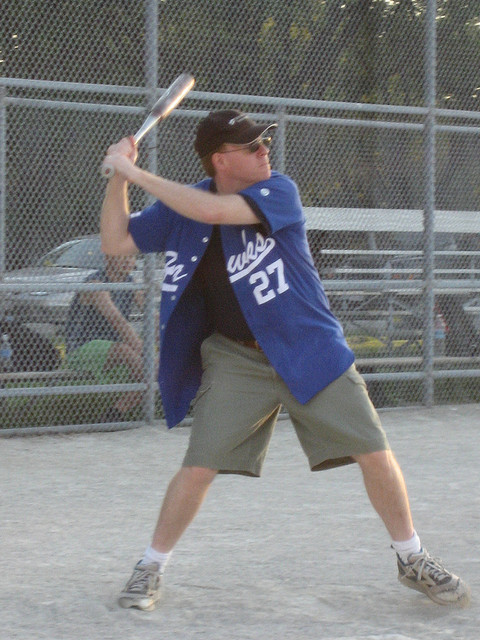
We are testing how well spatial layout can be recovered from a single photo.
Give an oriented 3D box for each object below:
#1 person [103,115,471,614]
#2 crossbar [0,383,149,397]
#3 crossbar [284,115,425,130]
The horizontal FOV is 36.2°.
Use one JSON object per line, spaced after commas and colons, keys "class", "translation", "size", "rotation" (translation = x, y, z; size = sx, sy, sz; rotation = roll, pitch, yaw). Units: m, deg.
{"class": "person", "translation": [0.078, 0.113, 2.200], "size": [0.968, 1.418, 0.510], "rotation": [0, 6, -9]}
{"class": "crossbar", "translation": [-1.134, 0.477, 5.009], "size": [0.998, 0.084, 0.096], "rotation": [-2, 6, -24]}
{"class": "crossbar", "translation": [0.899, -1.510, 5.653], "size": [1.239, 0.071, 0.062], "rotation": [-1, 6, -20]}
